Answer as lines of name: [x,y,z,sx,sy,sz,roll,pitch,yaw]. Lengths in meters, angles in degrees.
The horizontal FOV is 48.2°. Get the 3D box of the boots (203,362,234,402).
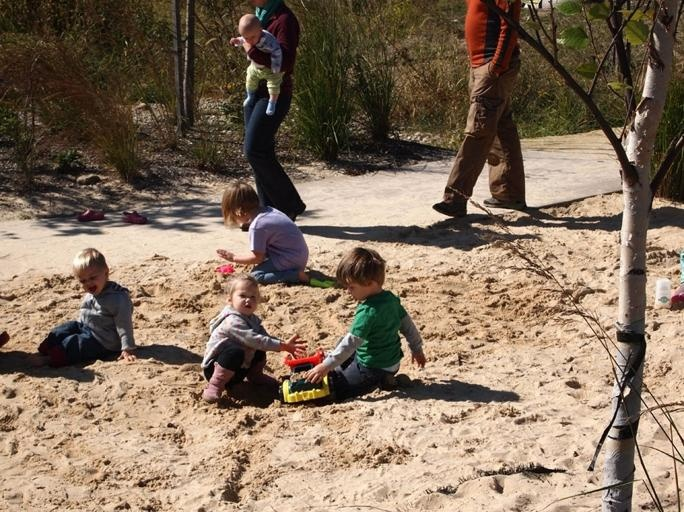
boots: [-0.775,0.783,4.786,0.106,0.222,0.178,14,21,42]

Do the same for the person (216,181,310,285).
person: [-0.662,-0.202,6.331,0.854,0.783,0.616,5,18,23]

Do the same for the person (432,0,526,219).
person: [1.328,-1.341,7.136,0.700,2.011,0.702,7,18,25]

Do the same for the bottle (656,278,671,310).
bottle: [2.247,0.255,5.343,0.104,0.180,0.160,5,16,20]

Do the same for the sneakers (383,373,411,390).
sneakers: [0.358,0.787,4.797,0.132,0.045,0.104,-10,7,-36]

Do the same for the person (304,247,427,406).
person: [0.124,0.423,4.747,0.738,0.940,0.322,-10,19,-29]

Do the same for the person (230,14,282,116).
person: [-0.742,-1.701,6.868,0.426,0.874,0.497,-4,16,-9]

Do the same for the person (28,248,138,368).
person: [-1.721,0.343,5.237,0.850,0.708,0.684,7,10,35]

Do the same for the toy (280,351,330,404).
toy: [-0.228,0.764,4.847,0.242,0.210,0.337,-6,12,2]
